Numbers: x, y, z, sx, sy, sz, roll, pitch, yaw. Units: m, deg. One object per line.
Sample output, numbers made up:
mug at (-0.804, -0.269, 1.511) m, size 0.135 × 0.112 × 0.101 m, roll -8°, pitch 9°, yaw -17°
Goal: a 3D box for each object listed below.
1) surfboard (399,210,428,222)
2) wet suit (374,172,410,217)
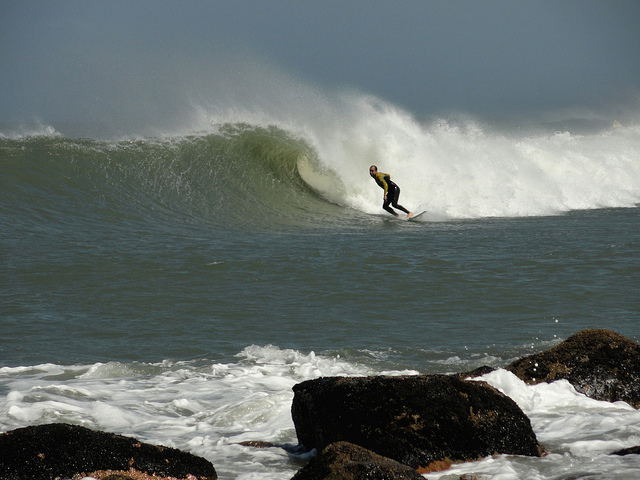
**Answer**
surfboard at (2.336, -0.618, 25.700) m, size 0.510 × 0.158 × 0.390 m, roll -13°, pitch -9°, yaw 1°
wet suit at (1.818, -1.108, 25.431) m, size 0.686 × 1.025 × 0.908 m, roll 6°, pitch 2°, yaw 39°
